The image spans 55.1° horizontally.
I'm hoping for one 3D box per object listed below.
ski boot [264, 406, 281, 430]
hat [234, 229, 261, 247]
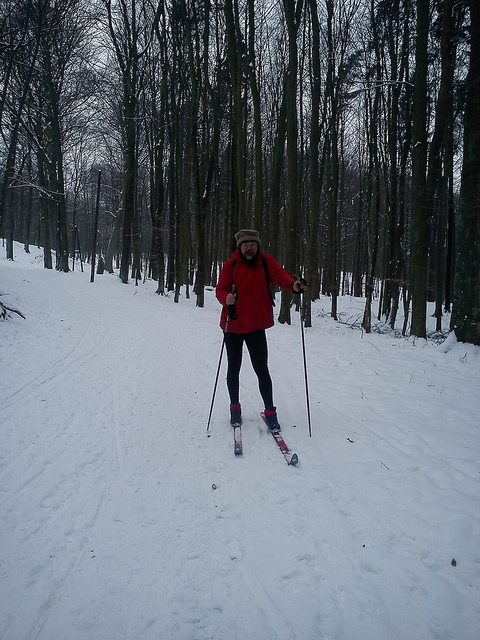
[{"bbox_3d":[0.361,1.061,5.064,0.137,0.221,0.269,-3,16,-11],"label":"ski boot"},{"bbox_3d":[0.079,-0.920,5.086,0.271,0.167,0.342,-1,17,-4],"label":"hat"}]
